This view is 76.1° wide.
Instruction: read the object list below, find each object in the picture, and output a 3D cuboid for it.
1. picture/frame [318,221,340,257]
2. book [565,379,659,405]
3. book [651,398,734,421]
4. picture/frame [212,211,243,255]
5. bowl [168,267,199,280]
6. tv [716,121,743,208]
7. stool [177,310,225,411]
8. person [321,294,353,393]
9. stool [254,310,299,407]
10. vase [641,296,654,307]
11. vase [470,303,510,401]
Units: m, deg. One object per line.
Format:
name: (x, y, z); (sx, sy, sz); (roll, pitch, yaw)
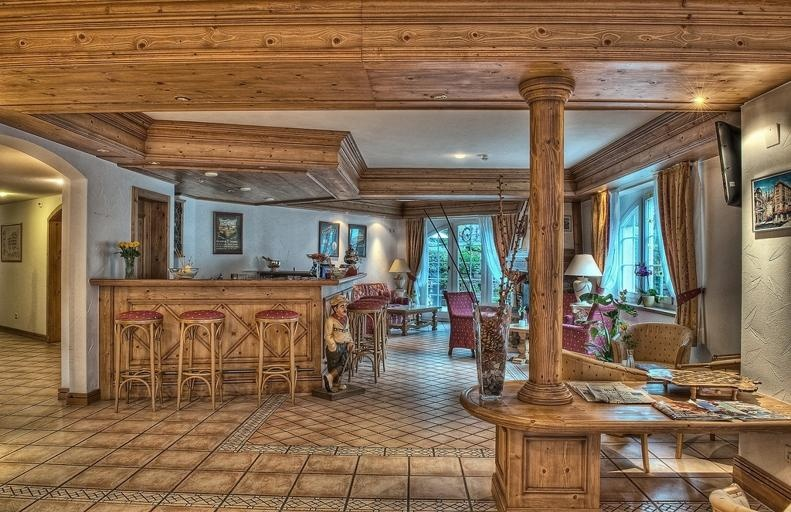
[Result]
picture/frame: (-1.572, -0.396, 11.999); (0.112, 0.837, 0.616); (-6, -5, 42)
book: (1.893, 1.208, 4.463); (0.647, 0.096, 0.524); (-1, -3, 5)
book: (2.366, 1.246, 4.040); (0.495, 0.080, 0.304); (-1, -3, -3)
picture/frame: (-3.519, -0.472, 10.613); (0.102, 0.889, 0.668); (-6, -5, 41)
bowl: (-3.053, 0.253, 7.132); (0.486, 0.116, 0.400); (-1, -6, 2)
tv: (3.158, -0.871, 4.784); (0.221, 0.801, 0.181); (-3, -4, 8)
stool: (-2.498, 1.306, 6.491); (0.621, 1.213, 0.816); (-1, -4, -20)
person: (-0.805, 1.201, 6.966); (0.405, 1.284, 0.456); (-2, -4, -7)
stool: (-1.535, 1.301, 6.619); (0.597, 1.195, 0.688); (-1, -4, -11)
vase: (3.969, 0.729, 7.935); (0.221, 0.121, 0.188); (-2, -4, 25)
vase: (0.825, 0.813, 4.276); (0.288, 0.811, 0.264); (-3, -4, 7)
